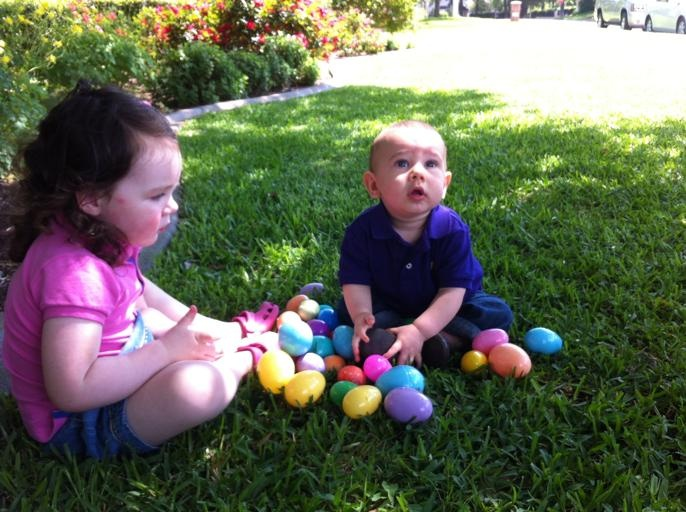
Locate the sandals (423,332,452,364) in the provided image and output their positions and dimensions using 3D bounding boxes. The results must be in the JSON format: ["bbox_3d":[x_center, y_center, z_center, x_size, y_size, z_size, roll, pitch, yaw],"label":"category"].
[{"bbox_3d":[0.420,0.410,2.543,0.118,0.132,0.118,5,-1,37],"label":"sandals"}]

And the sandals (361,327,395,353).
[{"bbox_3d":[0.157,0.376,2.492,0.095,0.106,0.122,27,-7,-43],"label":"sandals"}]

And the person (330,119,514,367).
[{"bbox_3d":[0.356,-0.070,2.588,0.778,1.100,0.838,2,12,11],"label":"person"}]
